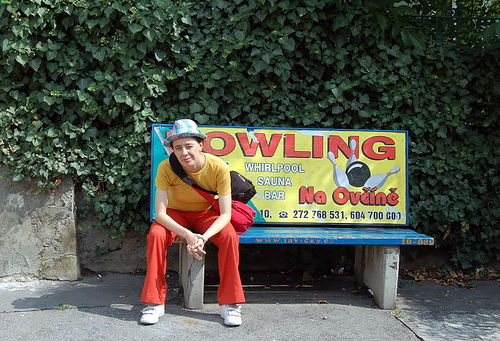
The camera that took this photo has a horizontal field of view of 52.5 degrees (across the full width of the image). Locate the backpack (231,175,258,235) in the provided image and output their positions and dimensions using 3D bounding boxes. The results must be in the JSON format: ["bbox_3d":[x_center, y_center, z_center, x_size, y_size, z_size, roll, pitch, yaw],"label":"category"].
[{"bbox_3d":[-0.077,0.457,6.324,0.274,0.473,0.548,-4,26,15],"label":"backpack"}]
